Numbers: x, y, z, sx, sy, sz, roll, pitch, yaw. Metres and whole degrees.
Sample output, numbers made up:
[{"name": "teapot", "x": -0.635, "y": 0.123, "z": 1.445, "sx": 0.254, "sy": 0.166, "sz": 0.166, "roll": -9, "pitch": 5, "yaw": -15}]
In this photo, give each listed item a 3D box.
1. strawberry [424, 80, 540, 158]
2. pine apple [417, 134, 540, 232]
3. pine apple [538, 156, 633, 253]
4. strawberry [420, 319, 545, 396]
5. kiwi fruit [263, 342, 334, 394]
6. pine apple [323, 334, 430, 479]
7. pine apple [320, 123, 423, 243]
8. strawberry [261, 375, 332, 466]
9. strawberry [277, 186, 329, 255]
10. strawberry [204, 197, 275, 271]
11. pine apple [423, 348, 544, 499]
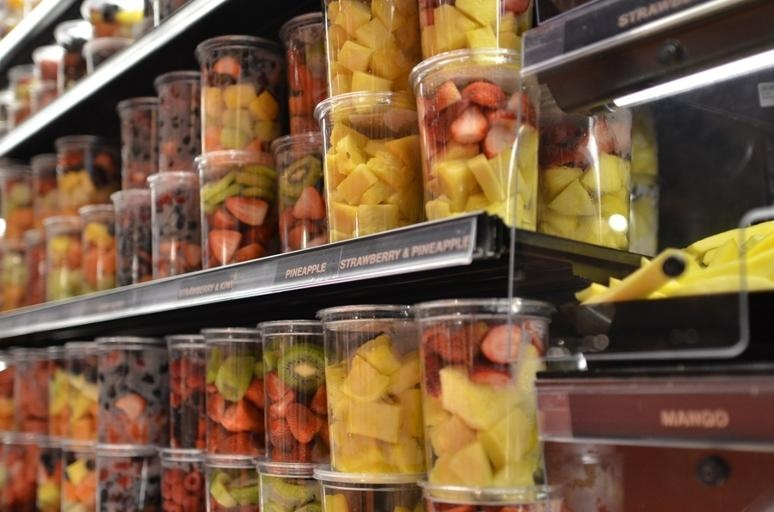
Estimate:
[{"name": "strawberry", "x": 0.177, "y": -0.289, "z": 1.786, "sx": 0.192, "sy": 0.164, "sz": 0.118, "roll": -4, "pitch": 6, "yaw": -13}, {"name": "pine apple", "x": 0.186, "y": -0.148, "z": 1.715, "sx": 0.192, "sy": 0.197, "sz": 0.111, "roll": 4, "pitch": 4, "yaw": 12}, {"name": "pine apple", "x": 0.412, "y": -0.113, "z": 1.809, "sx": 0.159, "sy": 0.204, "sz": 0.080, "roll": 4, "pitch": -2, "yaw": 9}, {"name": "strawberry", "x": 0.187, "y": 0.198, "z": 1.754, "sx": 0.191, "sy": 0.146, "sz": 0.176, "roll": -8, "pitch": -13, "yaw": 43}, {"name": "kiwi fruit", "x": -0.226, "y": 0.278, "z": 2.104, "sx": 0.113, "sy": 0.126, "sz": 0.058, "roll": 2, "pitch": -13, "yaw": -26}, {"name": "pine apple", "x": -0.012, "y": 0.341, "z": 1.992, "sx": 0.190, "sy": 0.305, "sz": 0.211, "roll": -8, "pitch": -9, "yaw": 44}, {"name": "pine apple", "x": -0.032, "y": -0.157, "z": 1.934, "sx": 0.198, "sy": 0.269, "sz": 0.105, "roll": 0, "pitch": -11, "yaw": -19}, {"name": "strawberry", "x": -0.229, "y": 0.403, "z": 2.105, "sx": 0.114, "sy": 0.236, "sz": 0.103, "roll": -4, "pitch": -3, "yaw": 36}, {"name": "strawberry", "x": -0.211, "y": -0.084, "z": 2.149, "sx": 0.102, "sy": 0.171, "sz": 0.092, "roll": -3, "pitch": -9, "yaw": -18}, {"name": "strawberry", "x": -0.383, "y": -0.070, "z": 2.259, "sx": 0.141, "sy": 0.207, "sz": 0.118, "roll": -2, "pitch": -7, "yaw": -17}, {"name": "pine apple", "x": 0.203, "y": 0.324, "z": 1.762, "sx": 0.136, "sy": 0.306, "sz": 0.190, "roll": 1, "pitch": 0, "yaw": -23}]
